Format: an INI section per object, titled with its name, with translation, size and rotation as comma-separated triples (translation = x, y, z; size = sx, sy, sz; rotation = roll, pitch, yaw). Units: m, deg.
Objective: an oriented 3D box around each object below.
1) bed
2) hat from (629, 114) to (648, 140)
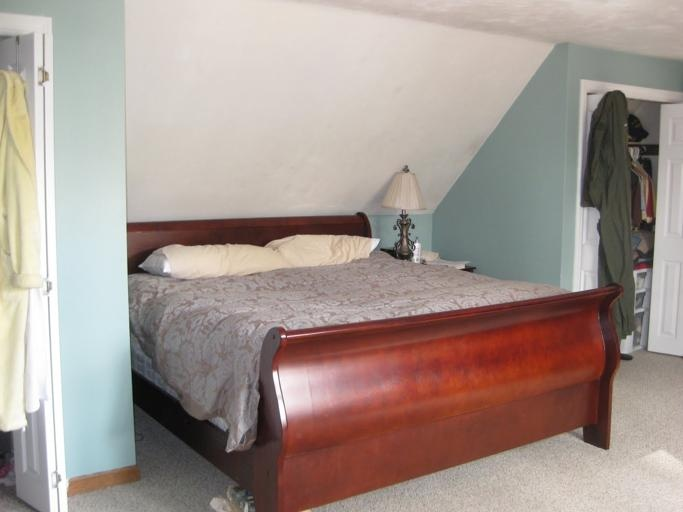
[bed]
translation = 0.046, 0.497, 3.063
size = 1.489, 0.872, 1.544
rotation = -4, 6, -33
[hat]
translation = 2.741, -1.196, 4.973
size = 0.269, 0.240, 0.121
rotation = -7, 14, -29
